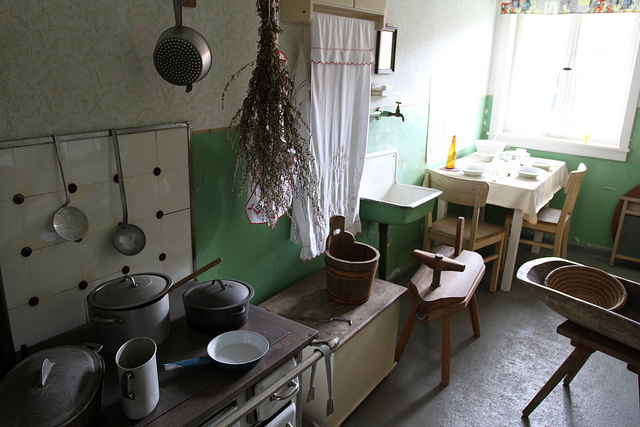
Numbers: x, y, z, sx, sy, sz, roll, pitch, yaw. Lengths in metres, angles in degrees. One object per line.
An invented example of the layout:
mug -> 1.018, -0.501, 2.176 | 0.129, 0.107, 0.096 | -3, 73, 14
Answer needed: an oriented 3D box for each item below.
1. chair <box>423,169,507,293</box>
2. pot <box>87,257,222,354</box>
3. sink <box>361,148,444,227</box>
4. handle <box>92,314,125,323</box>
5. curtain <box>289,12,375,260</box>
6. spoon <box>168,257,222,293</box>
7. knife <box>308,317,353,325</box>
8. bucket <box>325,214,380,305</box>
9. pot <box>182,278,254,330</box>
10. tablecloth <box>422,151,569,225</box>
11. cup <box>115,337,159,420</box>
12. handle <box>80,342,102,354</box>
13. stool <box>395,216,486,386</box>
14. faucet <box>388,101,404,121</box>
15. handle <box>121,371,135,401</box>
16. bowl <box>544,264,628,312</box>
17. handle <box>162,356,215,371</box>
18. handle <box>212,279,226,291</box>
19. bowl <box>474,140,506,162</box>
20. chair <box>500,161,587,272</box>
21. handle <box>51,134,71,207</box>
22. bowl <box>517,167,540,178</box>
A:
chair -> 1.201, 0.133, 3.657 | 0.632, 1.051, 0.532 | 26, 46, 37
pot -> -0.689, 0.399, 1.971 | 0.593, 0.300, 0.317 | -5, 17, -15
sink -> 0.654, -0.239, 3.505 | 0.517, 0.486, 0.780 | 11, 22, 31
handle -> -0.867, 0.437, 1.800 | 0.061, 0.015, 0.062 | 9, 13, 7
curtain -> 0.076, -0.494, 2.874 | 0.219, 1.471, 0.746 | 13, 23, 34
spoon -> -0.640, 0.308, 2.207 | 0.278, 0.037, 0.032 | -34, 43, 8
knife -> 0.070, 0.623, 2.566 | 0.220, 0.012, 0.072 | 1, 36, 5
bucket -> 0.190, 0.303, 2.790 | 0.306, 0.483, 0.362 | 21, 31, 38
pot -> -0.451, 0.342, 1.940 | 0.234, 0.130, 0.258 | -20, 32, -41
tablecloth -> 1.817, -0.299, 4.470 | 1.019, 0.451, 1.517 | 15, 23, 37
cup -> -0.701, 0.628, 1.690 | 0.153, 0.222, 0.202 | -9, 20, -23
handle -> -0.902, 0.533, 1.756 | 0.046, 0.016, 0.063 | 15, 12, 5
stool -> 0.894, 0.672, 3.223 | 0.482, 1.096, 0.885 | 17, 41, 32
faucet -> 0.611, -0.837, 3.549 | 0.112, 0.123, 0.161 | 3, 19, 10
handle -> -0.706, 0.634, 1.612 | 0.050, 0.105, 0.036 | 2, 19, 7
bowl -> 1.552, 0.442, 2.544 | 0.294, 0.110, 0.301 | -7, 47, 8
handle -> -0.538, 0.620, 1.806 | 0.173, 0.025, 0.031 | -7, 49, -25
handle -> -0.464, 0.328, 2.005 | 0.044, 0.023, 0.011 | 44, 37, 9
bowl -> 1.811, -0.690, 4.700 | 0.272, 0.161, 0.266 | -1, 16, 0
chair -> 2.081, -0.001, 4.083 | 0.579, 1.008, 0.599 | 19, 38, 30
handle -> -1.106, -0.181, 1.925 | 0.047, 0.326, 0.043 | -6, 9, 8
bowl -> 1.954, -0.374, 4.122 | 0.183, 0.064, 0.204 | 8, 20, 23
